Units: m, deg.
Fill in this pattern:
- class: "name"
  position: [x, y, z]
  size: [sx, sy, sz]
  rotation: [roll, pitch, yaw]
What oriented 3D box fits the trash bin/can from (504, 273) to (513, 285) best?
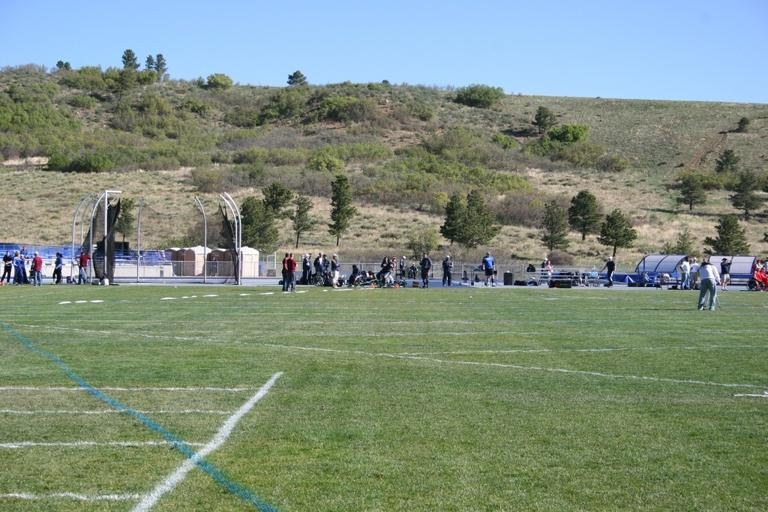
- class: "trash bin/can"
  position: [11.272, 2.042, 112.438]
  size: [0.795, 1.078, 0.873]
  rotation: [3, 0, 3]
